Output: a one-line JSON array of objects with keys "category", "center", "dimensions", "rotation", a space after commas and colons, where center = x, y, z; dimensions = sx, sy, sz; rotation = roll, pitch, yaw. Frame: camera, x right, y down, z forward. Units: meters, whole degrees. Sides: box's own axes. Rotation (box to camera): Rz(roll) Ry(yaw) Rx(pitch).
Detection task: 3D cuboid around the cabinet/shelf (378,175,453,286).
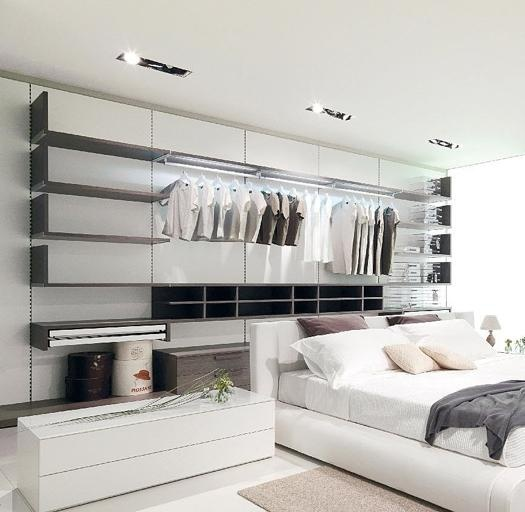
[{"category": "cabinet/shelf", "center": [2.187, -0.344, 6.204], "dimensions": [0.509, 1.178, 1.197], "rotation": [0, 0, 45]}]
